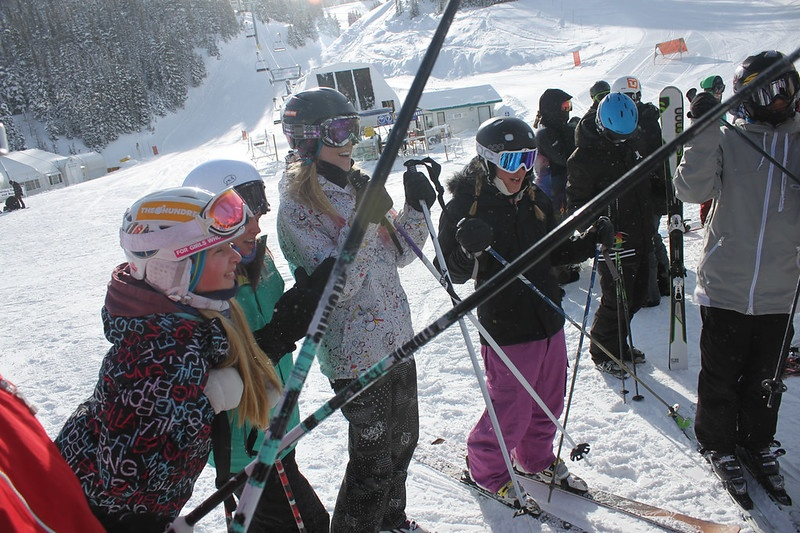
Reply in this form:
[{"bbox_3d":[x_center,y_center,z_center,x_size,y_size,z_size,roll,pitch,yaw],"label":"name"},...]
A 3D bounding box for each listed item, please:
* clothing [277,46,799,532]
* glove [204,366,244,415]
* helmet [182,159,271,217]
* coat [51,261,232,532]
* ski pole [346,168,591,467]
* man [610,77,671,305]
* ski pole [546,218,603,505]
[{"bbox_3d":[0.716,-0.055,3.656,2.820,1.837,0.297,-8,19,-4],"label":"clothing"},{"bbox_3d":[-1.077,0.739,4.123,0.161,0.295,0.306,3,3,20],"label":"glove"},{"bbox_3d":[-1.268,-0.649,5.096,0.539,0.449,0.410,-7,14,-14],"label":"helmet"},{"bbox_3d":[-1.552,0.742,4.667,1.126,1.671,1.604,8,11,-22],"label":"coat"},{"bbox_3d":[0.508,0.635,5.701,1.852,1.892,0.257,-36,12,-24],"label":"ski pole"},{"bbox_3d":[2.337,-0.643,6.580,0.261,2.615,0.279,-1,-2,7],"label":"man"},{"bbox_3d":[1.500,0.891,5.812,0.214,2.458,0.217,10,5,-31],"label":"ski pole"}]
